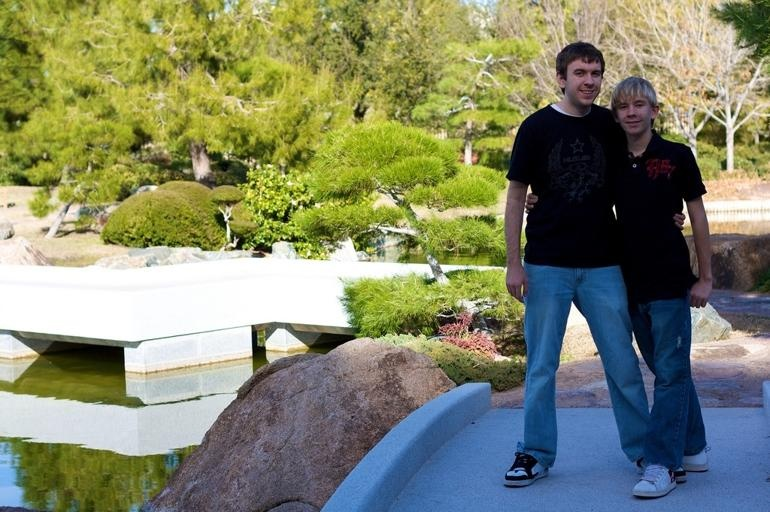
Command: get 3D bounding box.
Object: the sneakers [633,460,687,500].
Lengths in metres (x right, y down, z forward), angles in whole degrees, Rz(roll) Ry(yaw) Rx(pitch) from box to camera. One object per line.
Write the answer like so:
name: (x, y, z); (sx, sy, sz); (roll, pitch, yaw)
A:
sneakers: (2.282, 1.897, 7.661); (0.353, 0.258, 0.185); (-4, 3, 13)

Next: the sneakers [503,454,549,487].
sneakers: (1.236, 1.834, 7.923); (0.214, 0.248, 0.577); (3, 3, 28)

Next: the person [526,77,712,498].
person: (2.407, 0.235, 7.711); (0.721, 3.536, 0.559); (-4, 3, 15)
